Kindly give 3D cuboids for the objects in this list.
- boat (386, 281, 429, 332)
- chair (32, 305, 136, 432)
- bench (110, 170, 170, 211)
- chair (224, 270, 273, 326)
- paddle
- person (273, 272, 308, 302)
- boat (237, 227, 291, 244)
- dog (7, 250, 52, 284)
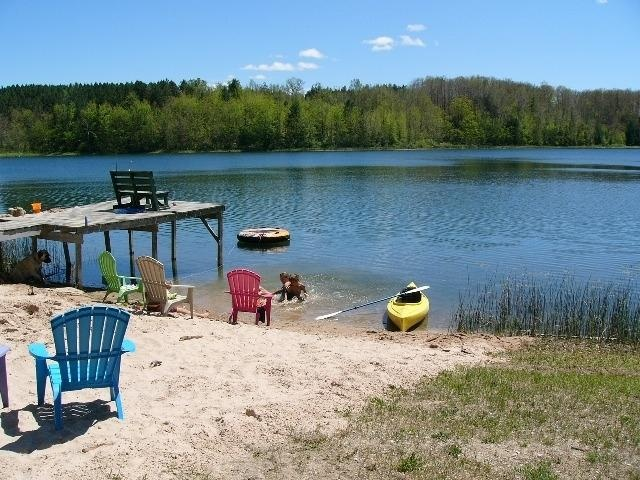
[{"bbox_3d":[2.195,1.685,17.751,1.059,0.848,1.891,2,9,8],"label":"boat"},{"bbox_3d":[-3.696,1.847,11.169,1.727,2.185,1.609,0,3,-28],"label":"chair"},{"bbox_3d":[-6.074,-1.673,23.427,1.420,1.038,0.892,-2,-2,5],"label":"bench"},{"bbox_3d":[-1.566,1.242,16.253,1.099,1.614,1.205,2,5,15],"label":"chair"},{"bbox_3d":[1.345,1.701,18.671,2.285,0.047,0.260,-16,25,-13],"label":"paddle"},{"bbox_3d":[-0.904,1.315,19.351,0.887,1.310,0.731,0,-1,-34],"label":"person"},{"bbox_3d":[-2.260,-0.148,28.447,1.306,0.491,1.955,-7,12,-42],"label":"boat"},{"bbox_3d":[-8.131,0.681,19.662,1.039,0.914,0.653,3,5,-10],"label":"dog"}]
